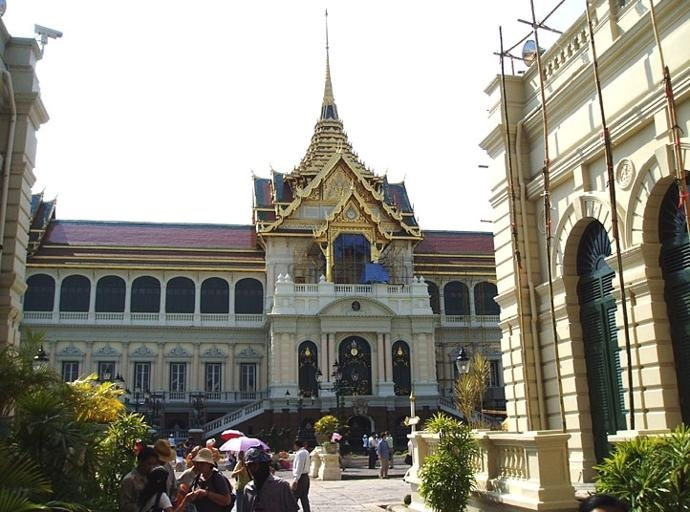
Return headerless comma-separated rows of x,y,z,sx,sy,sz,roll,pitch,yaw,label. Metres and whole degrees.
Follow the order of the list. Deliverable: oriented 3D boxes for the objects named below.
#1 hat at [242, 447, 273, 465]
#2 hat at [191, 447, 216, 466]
-1.133,2.568,9.032,0.240,0.140,0.240,-2,-7,-17,hat
-2.137,3.022,10.630,0.306,0.183,0.350,7,-26,3,hat
